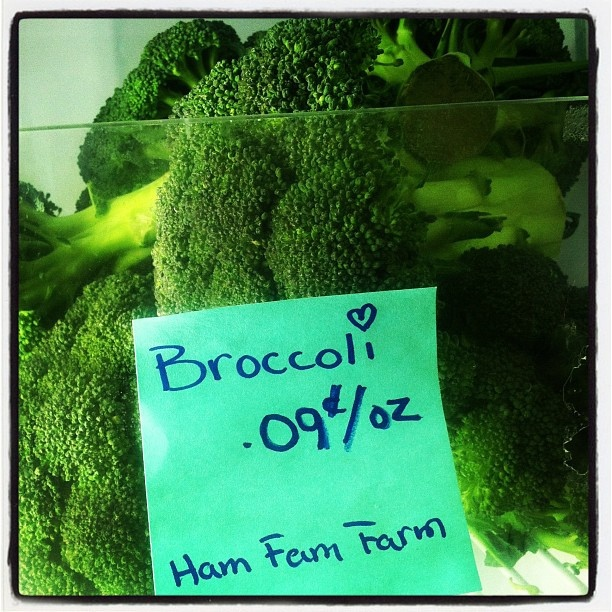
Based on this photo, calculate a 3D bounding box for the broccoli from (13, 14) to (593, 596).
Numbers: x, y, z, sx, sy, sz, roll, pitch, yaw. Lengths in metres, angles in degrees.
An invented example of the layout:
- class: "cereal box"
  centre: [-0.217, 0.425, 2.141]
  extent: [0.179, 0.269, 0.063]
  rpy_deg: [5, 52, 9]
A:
- class: "broccoli"
  centre: [0.011, 0.018, 0.801]
  extent: [0.574, 0.372, 0.599]
  rpy_deg: [-3, 92, 2]
